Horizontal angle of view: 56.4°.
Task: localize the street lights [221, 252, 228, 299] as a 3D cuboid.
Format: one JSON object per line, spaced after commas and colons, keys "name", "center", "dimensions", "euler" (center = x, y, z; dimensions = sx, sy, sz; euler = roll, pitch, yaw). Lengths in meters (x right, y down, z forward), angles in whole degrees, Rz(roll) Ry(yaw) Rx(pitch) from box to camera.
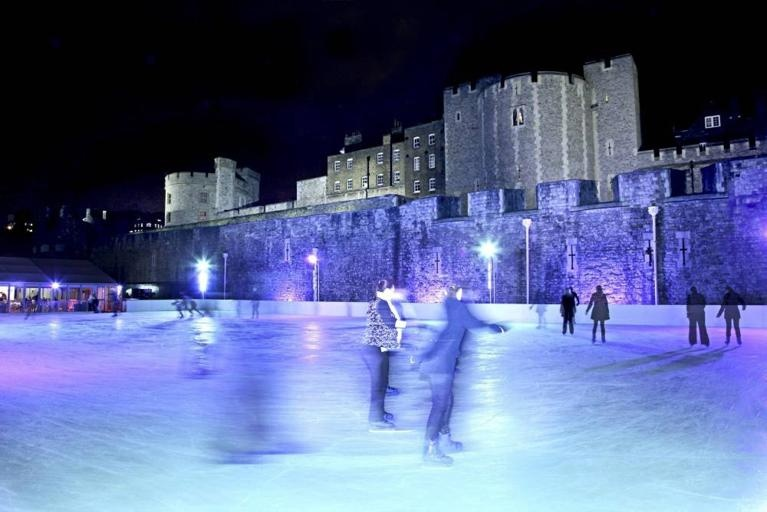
{"name": "street lights", "center": [-12.064, 1.459, 54.584], "dimensions": [0.437, 3.362, 0.821], "euler": [-1, 5, -13]}
